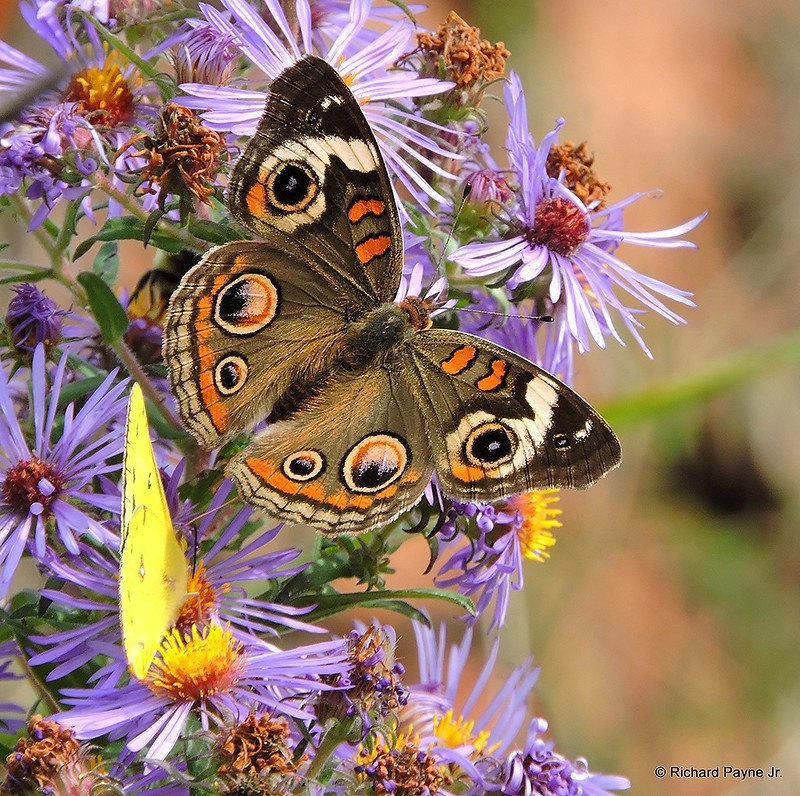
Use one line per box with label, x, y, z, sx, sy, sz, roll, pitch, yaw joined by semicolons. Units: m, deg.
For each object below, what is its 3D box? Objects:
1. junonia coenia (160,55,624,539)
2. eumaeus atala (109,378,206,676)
junonia coenia;-0.010;-0.132;1.483;0.592;0.607;0.217;4;16;-4
eumaeus atala;-0.283;0.159;1.293;0.052;0.385;0.250;4;16;-2
